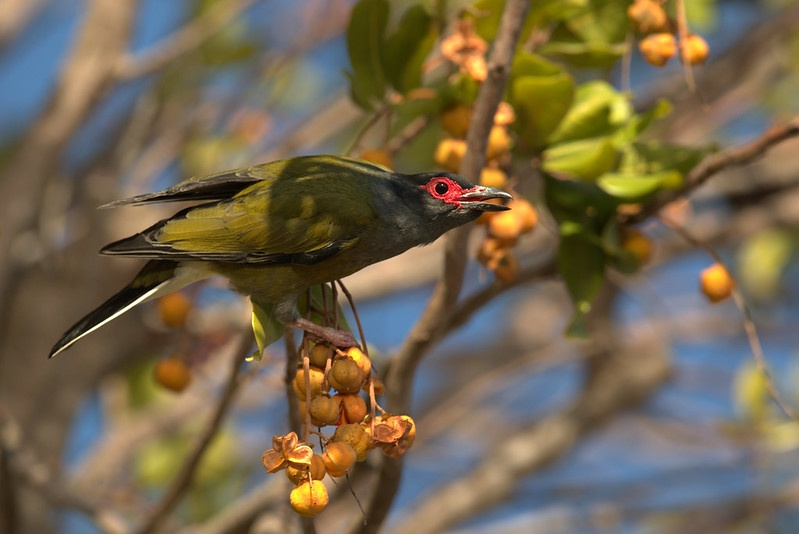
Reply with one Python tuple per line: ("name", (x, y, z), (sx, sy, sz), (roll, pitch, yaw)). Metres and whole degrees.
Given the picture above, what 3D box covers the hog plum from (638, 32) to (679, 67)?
("hog plum", (1.432, -1.201, 6.103), (0.209, 0.230, 0.134), (-8, -66, -37))
